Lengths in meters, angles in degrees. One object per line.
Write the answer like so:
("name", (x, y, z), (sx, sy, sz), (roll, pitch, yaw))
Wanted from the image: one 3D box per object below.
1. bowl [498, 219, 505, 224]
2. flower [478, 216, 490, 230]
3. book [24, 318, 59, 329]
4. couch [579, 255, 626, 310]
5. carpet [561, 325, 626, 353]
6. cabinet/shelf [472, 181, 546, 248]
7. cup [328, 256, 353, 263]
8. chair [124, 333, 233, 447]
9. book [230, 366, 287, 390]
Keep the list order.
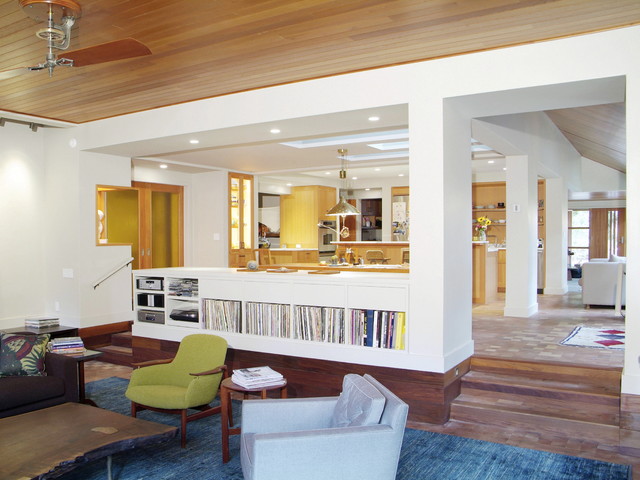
("bowl", (5.029, -0.487, 12.037), (0.190, 0.127, 0.236), (8, 16, 28))
("flower", (4.504, -0.442, 11.713), (0.398, 0.360, 0.379), (0, -1, -2))
("book", (-4.293, 1.300, 6.766), (0.264, 0.056, 0.260), (2, 1, 31))
("couch", (5.536, 0.885, 8.492), (0.695, 0.879, 1.227), (1, 1, 34))
("carpet", (3.760, 1.382, 5.976), (0.644, 0.028, 0.579), (0, 3, 36))
("cabinet/shelf", (4.319, -0.547, 9.847), (1.991, 1.687, 0.586), (-1, -3, 31))
("cup", (0.484, 0.452, 9.254), (0.284, 0.141, 0.376), (1, 0, -45))
("chair", (-1.406, 1.496, 4.692), (0.962, 1.042, 1.054), (-1, -3, 27))
("book", (-0.608, 1.292, 4.040), (0.245, 0.072, 0.239), (0, 2, -37))
